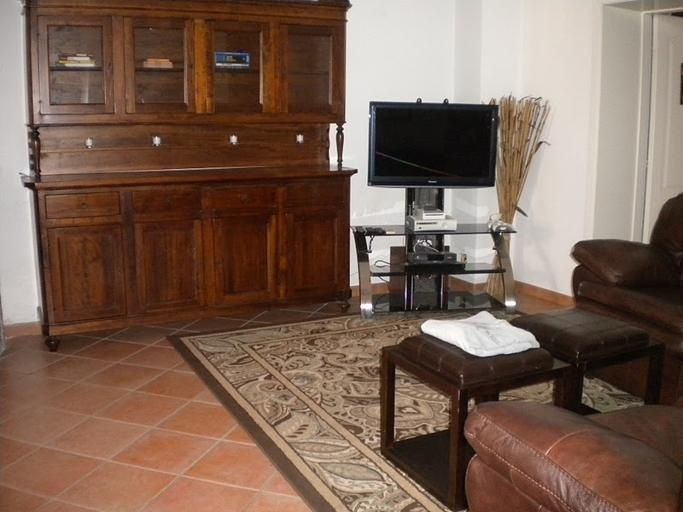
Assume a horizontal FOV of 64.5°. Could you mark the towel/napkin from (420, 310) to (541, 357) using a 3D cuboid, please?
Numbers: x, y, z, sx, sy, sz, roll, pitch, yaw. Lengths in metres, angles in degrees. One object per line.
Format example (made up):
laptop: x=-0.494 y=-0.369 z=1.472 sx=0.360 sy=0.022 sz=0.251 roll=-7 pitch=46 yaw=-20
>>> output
towel/napkin: x=0.651 y=0.363 z=2.514 sx=0.394 sy=0.113 sz=0.374 roll=-9 pitch=13 yaw=-31

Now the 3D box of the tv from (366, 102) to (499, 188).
tv: x=0.743 y=-0.942 z=4.530 sx=1.002 sy=0.496 sz=0.084 roll=-1 pitch=10 yaw=-4

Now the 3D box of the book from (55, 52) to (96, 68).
book: x=-2.042 y=-1.500 z=4.149 sx=0.193 sy=0.054 sz=0.178 roll=4 pitch=6 yaw=31

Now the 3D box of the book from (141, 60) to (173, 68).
book: x=-1.468 y=-1.542 z=4.323 sx=0.231 sy=0.082 sz=0.072 roll=-9 pitch=15 yaw=-32
